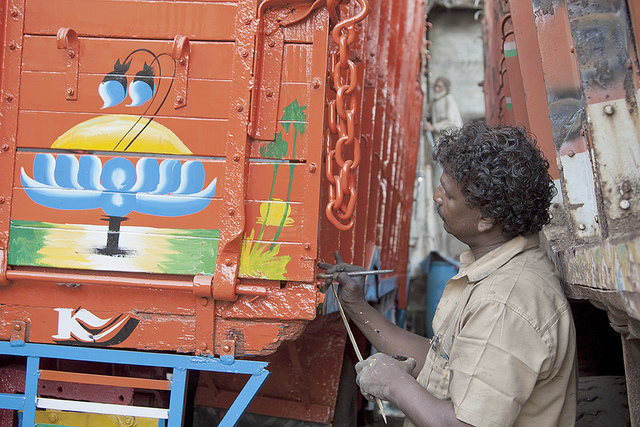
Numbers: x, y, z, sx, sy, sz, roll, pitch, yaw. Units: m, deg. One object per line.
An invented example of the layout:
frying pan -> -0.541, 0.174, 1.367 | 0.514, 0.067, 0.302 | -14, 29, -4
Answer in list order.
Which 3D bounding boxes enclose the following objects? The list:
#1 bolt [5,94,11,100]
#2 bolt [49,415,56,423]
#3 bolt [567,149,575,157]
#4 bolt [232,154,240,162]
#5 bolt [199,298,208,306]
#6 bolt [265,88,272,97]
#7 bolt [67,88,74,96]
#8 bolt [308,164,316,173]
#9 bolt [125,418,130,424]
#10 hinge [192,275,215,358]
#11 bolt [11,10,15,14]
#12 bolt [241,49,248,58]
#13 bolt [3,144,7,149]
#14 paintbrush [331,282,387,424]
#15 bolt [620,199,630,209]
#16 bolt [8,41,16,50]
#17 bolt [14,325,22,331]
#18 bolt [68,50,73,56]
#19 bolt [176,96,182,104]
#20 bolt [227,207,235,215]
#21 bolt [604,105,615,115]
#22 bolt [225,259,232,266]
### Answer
bolt -> -1.742, -0.661, 4.015 | 0.025, 0.028, 0.007 | 2, -7, -1
bolt -> -1.500, 1.162, 4.030 | 0.028, 0.031, 0.010 | 6, -2, -12
bolt -> 1.270, -0.313, 3.635 | 0.036, 0.039, 0.009 | 2, -4, 38
bolt -> -0.453, -0.306, 3.899 | 0.039, 0.042, 0.008 | -4, -3, 19
bolt -> -0.631, 0.484, 3.918 | 0.041, 0.042, 0.009 | -3, -3, 14
bolt -> -0.278, -0.670, 3.934 | 0.042, 0.046, 0.010 | 1, 2, 7
bolt -> -1.387, -0.688, 4.001 | 0.030, 0.033, 0.008 | 4, -4, 7
bolt -> -0.040, -0.249, 3.893 | 0.040, 0.044, 0.012 | 1, 1, 13
bolt -> -1.074, 1.171, 4.028 | 0.022, 0.027, 0.035 | -1, 0, 2
hinge -> -0.626, 0.563, 3.903 | 0.114, 0.459, 0.108 | -2, -3, -9
bolt -> -1.712, -1.139, 4.017 | 0.013, 0.016, 0.022 | 2, 8, 4
bolt -> -0.410, -0.883, 3.915 | 0.036, 0.040, 0.011 | 1, 1, 2
bolt -> -1.753, -0.380, 4.006 | 0.024, 0.025, 0.006 | 3, -2, -21
paintbrush -> 0.230, 0.866, 4.536 | 0.034, 1.369, 0.048 | -17, 0, 6
bolt -> 1.395, -0.047, 3.293 | 0.041, 0.041, 0.008 | -6, -5, 43
bolt -> -1.718, -0.954, 4.023 | 0.033, 0.036, 0.011 | 1, 0, -5
bolt -> -1.680, 0.641, 4.009 | 0.029, 0.032, 0.007 | 3, 4, -5
bolt -> -1.387, -0.907, 4.007 | 0.016, 0.024, 0.007 | 2, 0, 5
bolt -> -0.771, -0.634, 3.951 | 0.028, 0.030, 0.027 | -23, 0, 6
bolt -> -0.479, -0.018, 3.898 | 0.033, 0.035, 0.010 | 2, -4, 16
bolt -> 1.341, -0.488, 3.336 | 0.036, 0.040, 0.020 | 2, -2, 24
bolt -> -0.492, 0.264, 3.888 | 0.029, 0.031, 0.016 | 24, -4, 19
